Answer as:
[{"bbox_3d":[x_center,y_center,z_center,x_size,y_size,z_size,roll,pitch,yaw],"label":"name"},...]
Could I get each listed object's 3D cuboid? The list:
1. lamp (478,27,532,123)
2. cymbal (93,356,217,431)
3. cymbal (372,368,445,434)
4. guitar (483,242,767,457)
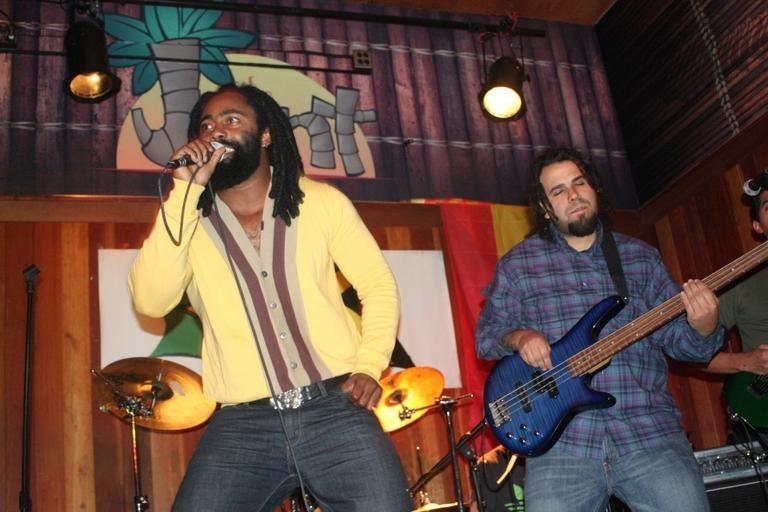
[{"bbox_3d":[1.073,-1.712,5.800,0.511,0.964,0.499,-8,15,2],"label":"lamp"},{"bbox_3d":[-1.530,0.905,4.248,0.722,0.186,0.726,8,-54,-6],"label":"cymbal"},{"bbox_3d":[0.137,1.059,4.644,0.618,0.604,0.152,-8,-55,40],"label":"cymbal"},{"bbox_3d":[1.384,0.533,3.665,1.724,0.504,0.195,-34,-18,3],"label":"guitar"}]
